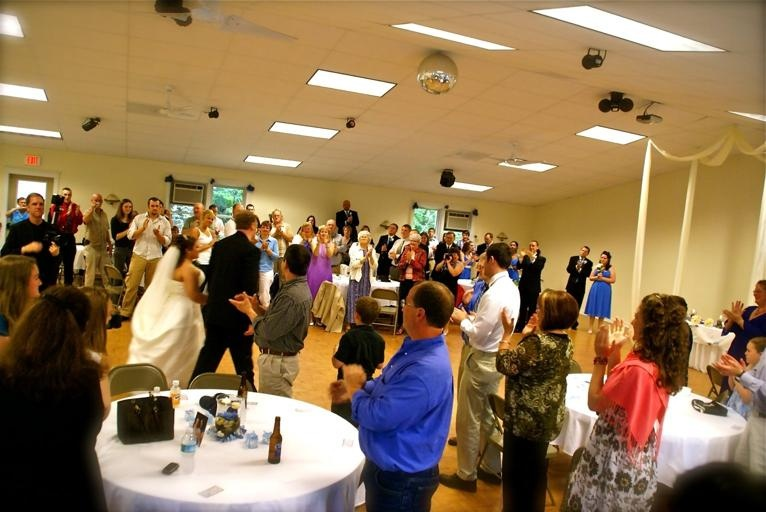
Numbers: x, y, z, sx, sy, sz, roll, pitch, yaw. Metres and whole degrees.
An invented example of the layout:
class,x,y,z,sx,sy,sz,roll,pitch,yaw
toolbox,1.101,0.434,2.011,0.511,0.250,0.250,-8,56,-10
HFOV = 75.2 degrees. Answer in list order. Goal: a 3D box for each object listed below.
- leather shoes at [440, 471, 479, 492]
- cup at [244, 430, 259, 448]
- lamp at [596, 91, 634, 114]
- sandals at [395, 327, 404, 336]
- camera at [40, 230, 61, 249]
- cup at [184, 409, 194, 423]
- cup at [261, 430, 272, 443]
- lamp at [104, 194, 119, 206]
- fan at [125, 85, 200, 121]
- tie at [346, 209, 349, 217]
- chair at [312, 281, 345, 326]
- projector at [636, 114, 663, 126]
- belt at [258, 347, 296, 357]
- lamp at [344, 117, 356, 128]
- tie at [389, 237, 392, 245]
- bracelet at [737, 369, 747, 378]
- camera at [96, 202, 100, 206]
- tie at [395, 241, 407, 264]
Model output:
class,x,y,z,sx,sy,sz,roll,pitch,yaw
leather shoes,0.642,1.905,4.274,0.331,0.130,0.123,7,-2,16
cup,-0.830,1.151,3.153,0.092,0.120,0.090,0,2,0
lamp,3.410,-2.236,7.259,0.418,0.296,0.355,6,-1,25
sandals,0.307,1.388,8.971,0.110,0.127,0.328,0,-8,12
camera,-4.087,-0.203,6.082,0.150,0.218,0.251,7,-1,-19
cup,-1.296,1.070,3.328,0.065,0.062,0.064,1,-2,0
cup,-0.746,1.157,3.192,0.057,0.054,0.057,-1,-1,0
lamp,-6.821,-1.401,12.494,0.299,0.279,0.183,5,5,-22
fan,-3.936,-2.752,9.075,0.705,0.294,0.496,5,-11,-14
tie,-0.890,-1.072,12.602,0.046,0.173,0.064,-3,7,-10
chair,-0.941,0.807,8.548,0.592,0.773,0.398,15,17,30
projector,4.147,-2.157,7.756,0.330,0.174,0.354,6,-1,24
belt,-0.852,0.789,4.063,0.294,0.067,0.098,7,-1,-10
lamp,-0.591,-2.444,9.121,0.169,0.065,0.215,1,-1,-17
tie,0.187,-0.327,11.156,0.090,0.117,0.031,7,-11,13
bracelet,2.882,0.947,3.995,0.047,0.036,0.045,-6,31,-46
camera,-4.697,-0.837,8.165,0.045,0.043,0.044,23,22,-15
tie,0.335,-0.072,9.931,0.289,0.393,0.141,-3,-27,36
